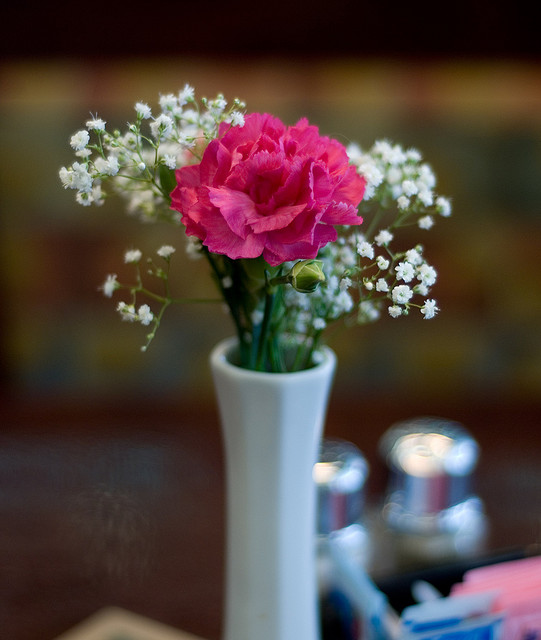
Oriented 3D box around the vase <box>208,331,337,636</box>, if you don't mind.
[{"bbox_3d":[0.000,0.156,0.633,0.108,0.263,0.144,1,20,1],"label":"vase"}]
